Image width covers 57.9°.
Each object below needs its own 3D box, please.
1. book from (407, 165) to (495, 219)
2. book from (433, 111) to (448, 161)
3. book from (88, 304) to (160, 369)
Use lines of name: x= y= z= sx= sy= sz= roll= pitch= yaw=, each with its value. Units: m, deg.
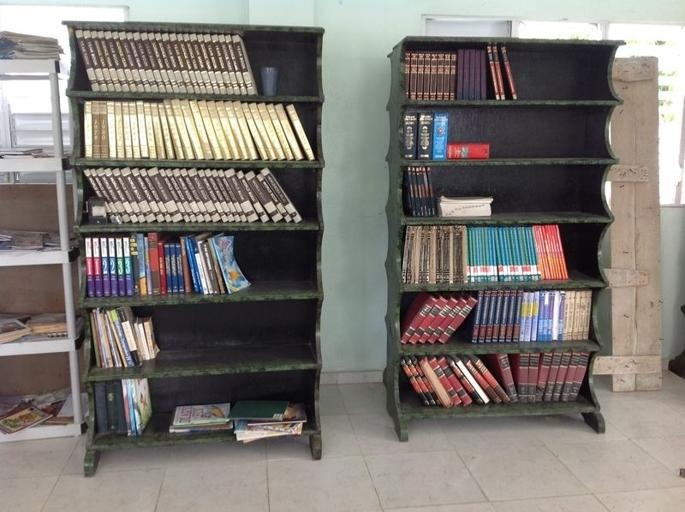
book: x=0.673 y=-0.413 z=3.983 sx=0.558 sy=0.348 sz=0.182 roll=-3 pitch=12 yaw=3
book: x=0.617 y=-0.758 z=3.922 sx=0.130 sy=0.320 sz=0.330 roll=-1 pitch=1 yaw=6
book: x=-1.286 y=0.477 z=3.889 sx=0.390 sy=0.425 sz=0.364 roll=-1 pitch=8 yaw=2
